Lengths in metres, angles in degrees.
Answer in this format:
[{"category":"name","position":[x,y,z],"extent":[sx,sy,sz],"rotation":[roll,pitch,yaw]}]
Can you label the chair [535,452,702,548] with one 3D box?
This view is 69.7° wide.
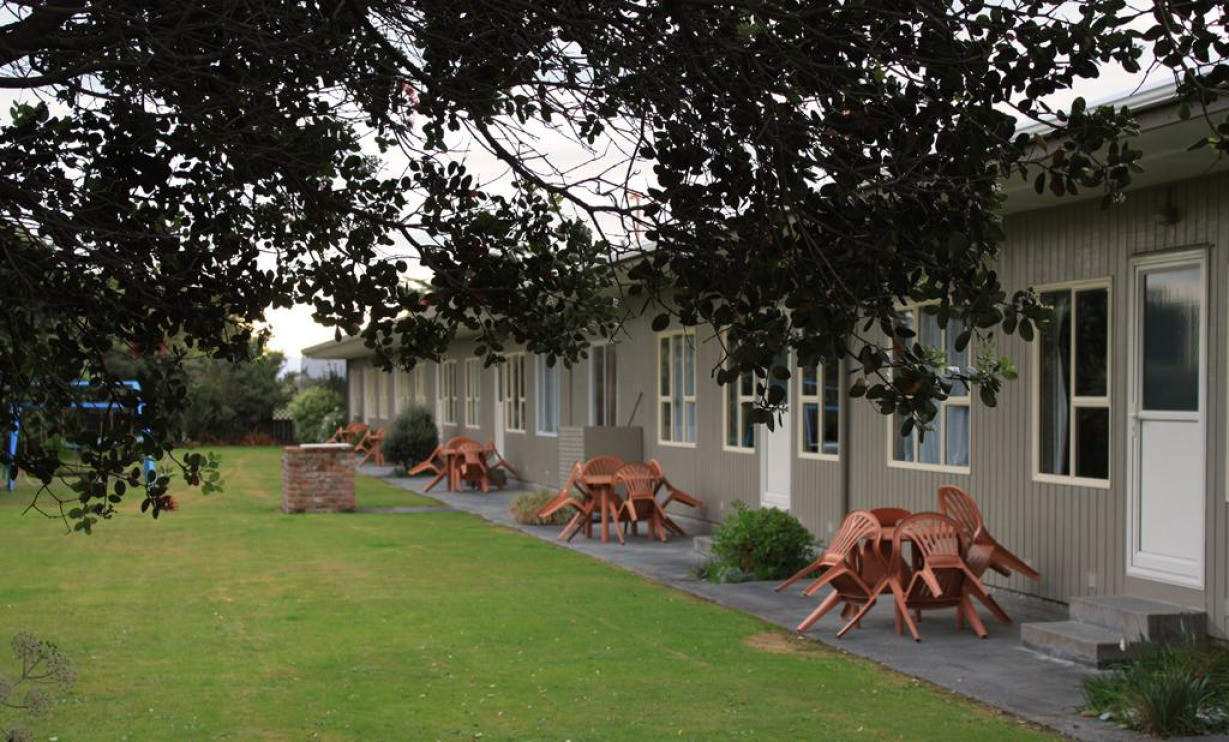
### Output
[{"category":"chair","position":[0.190,2.231,15.344],"extent":[2.420,1.432,2.146],"rotation":[0,-8,23]}]
